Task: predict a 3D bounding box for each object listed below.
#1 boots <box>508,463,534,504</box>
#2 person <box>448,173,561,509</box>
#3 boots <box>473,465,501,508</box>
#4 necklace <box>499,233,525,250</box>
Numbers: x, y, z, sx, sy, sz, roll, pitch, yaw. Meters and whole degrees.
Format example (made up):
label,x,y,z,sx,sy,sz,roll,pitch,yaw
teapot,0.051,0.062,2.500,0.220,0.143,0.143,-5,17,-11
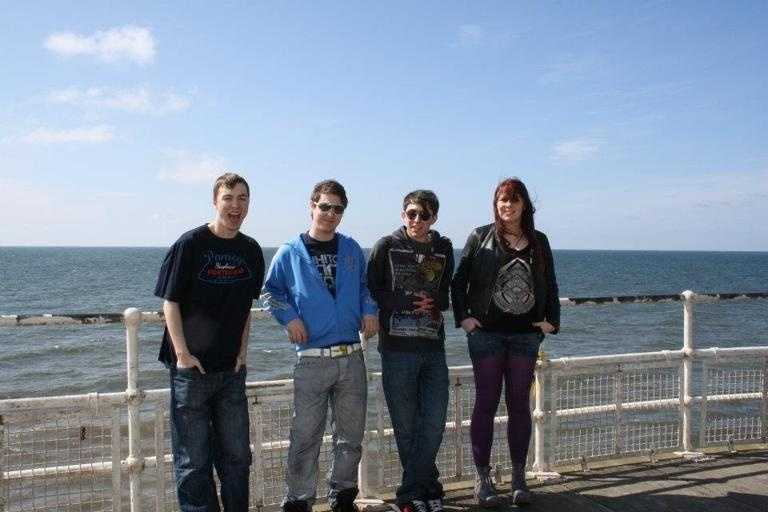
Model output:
label,x,y,z,sx,sy,sz,roll,pitch,yaw
boots,1.363,2.231,6.498,0.204,0.366,0.257,-1,-1,11
person,1.220,0.816,6.568,1.050,3.185,0.409,-1,-1,7
boots,1.013,2.249,6.474,0.258,0.360,0.231,-1,-1,9
necklace,1.315,-0.154,6.601,0.182,0.044,0.167,-8,39,-32
